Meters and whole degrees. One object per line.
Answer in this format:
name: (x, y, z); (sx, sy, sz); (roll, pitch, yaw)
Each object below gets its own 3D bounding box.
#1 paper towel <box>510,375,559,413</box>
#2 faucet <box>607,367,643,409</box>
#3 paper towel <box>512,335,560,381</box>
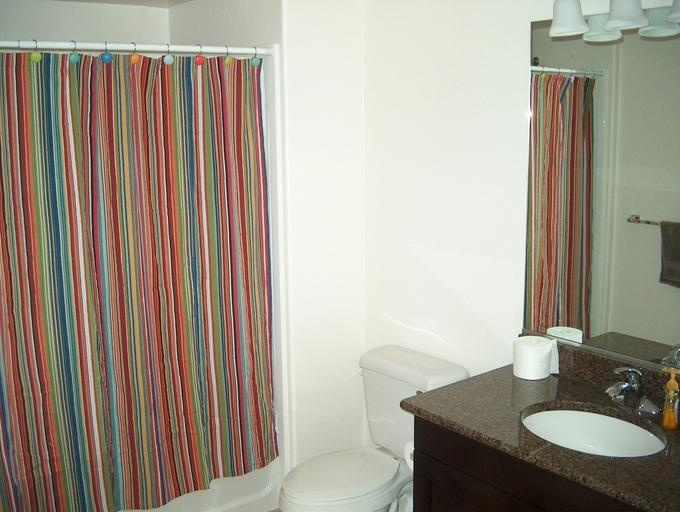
paper towel: (0.720, 0.508, 2.411); (0.112, 0.083, 0.114); (0, 2, -1)
faucet: (1.009, 0.462, 2.292); (0.119, 0.132, 0.048); (2, -3, 20)
paper towel: (0.762, 0.396, 2.573); (0.160, 0.130, 0.167); (2, 14, -7)
